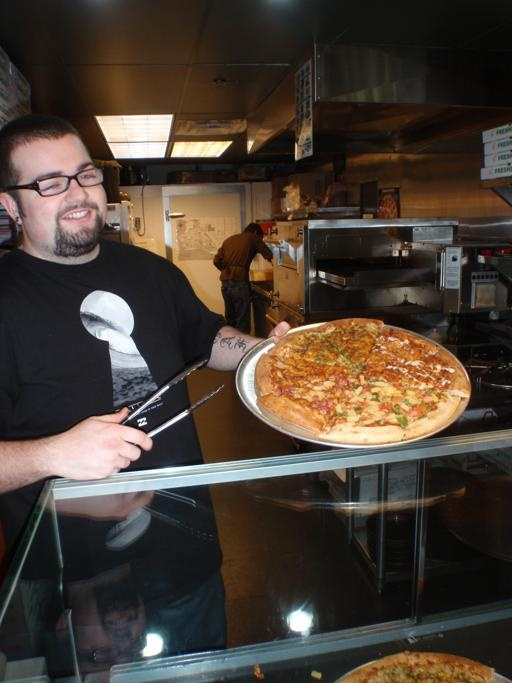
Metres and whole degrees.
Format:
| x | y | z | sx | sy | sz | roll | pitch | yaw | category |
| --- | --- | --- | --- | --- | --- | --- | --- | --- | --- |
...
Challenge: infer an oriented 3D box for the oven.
| x | y | z | sx | sy | sz | roll | pitch | yaw | category |
| --- | --- | --- | --- | --- | --- | --- | --- | --- | --- |
| 0.939 | -0.374 | 3.203 | 0.996 | 0.556 | 1.027 | 6 | 0 | 36 | oven |

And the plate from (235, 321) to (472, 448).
| x | y | z | sx | sy | sz | roll | pitch | yaw | category |
| --- | --- | --- | --- | --- | --- | --- | --- | --- | --- |
| 0.207 | 0.101 | 1.127 | 0.399 | 0.039 | 0.349 | -10 | 31 | -11 | plate |

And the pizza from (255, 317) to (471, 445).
| x | y | z | sx | sy | sz | roll | pitch | yaw | category |
| --- | --- | --- | --- | --- | --- | --- | --- | --- | --- |
| 0.224 | 0.077 | 1.126 | 0.320 | 0.037 | 0.263 | -4 | 30 | -2 | pizza |
